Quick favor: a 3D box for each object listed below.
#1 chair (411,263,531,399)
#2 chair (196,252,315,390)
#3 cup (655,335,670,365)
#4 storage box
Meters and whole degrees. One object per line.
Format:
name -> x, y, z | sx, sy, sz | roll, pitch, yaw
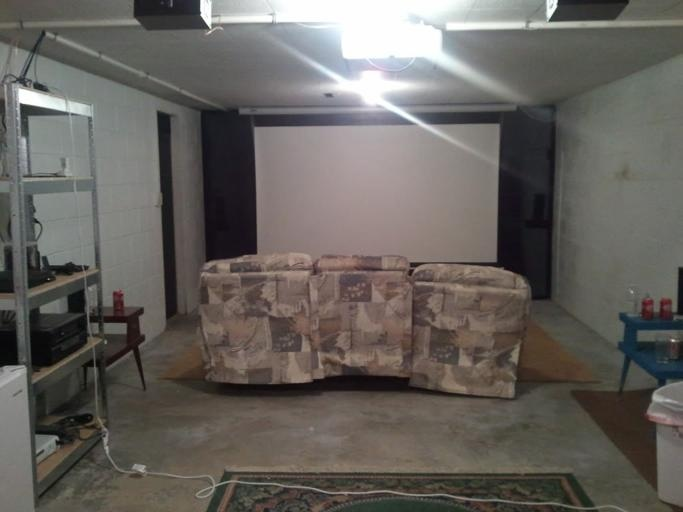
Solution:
chair -> 1.046, 0.630, 5.130 | 1.155, 1.127, 0.939 | 2, 1, 9
chair -> -0.706, 0.534, 5.126 | 1.026, 0.984, 1.034 | 0, 6, 2
cup -> 2.507, 0.728, 4.289 | 0.095, 0.182, 0.130 | 2, 9, 22
storage box -> -2.057, 0.561, 3.747 | 0.336, 0.240, 0.460 | 0, 6, -2
